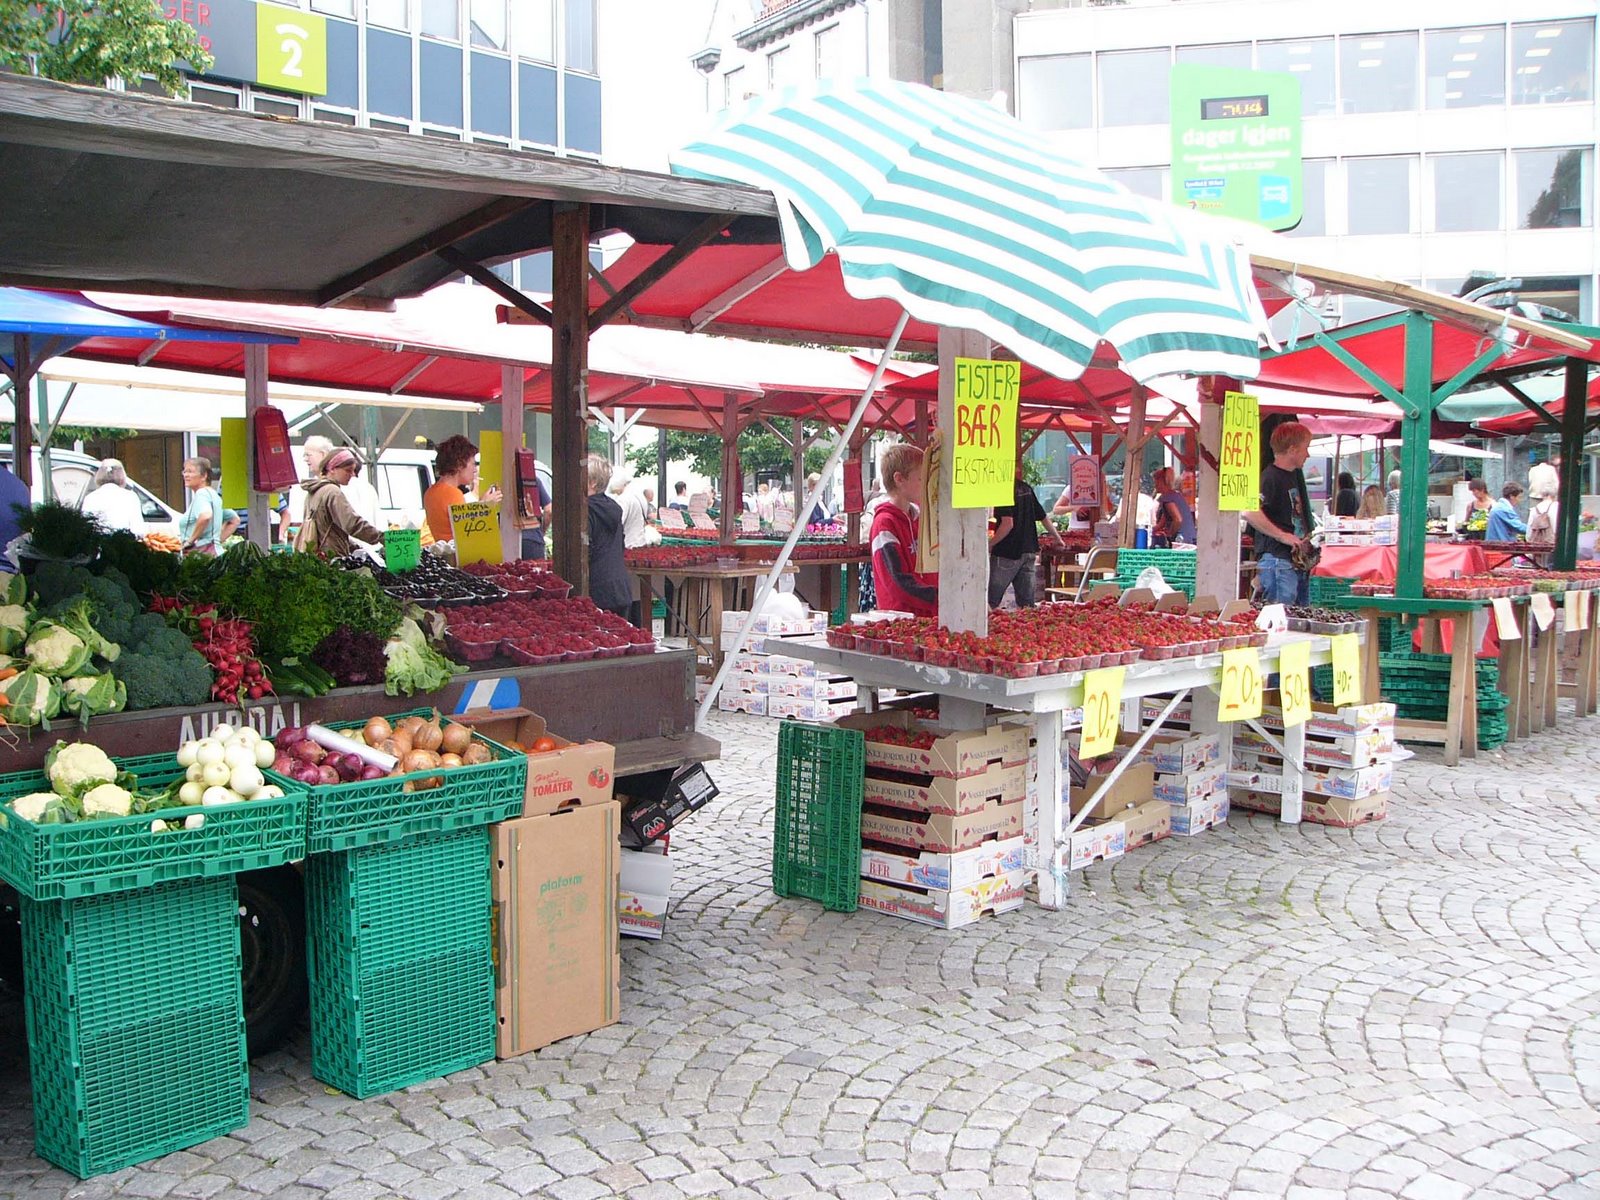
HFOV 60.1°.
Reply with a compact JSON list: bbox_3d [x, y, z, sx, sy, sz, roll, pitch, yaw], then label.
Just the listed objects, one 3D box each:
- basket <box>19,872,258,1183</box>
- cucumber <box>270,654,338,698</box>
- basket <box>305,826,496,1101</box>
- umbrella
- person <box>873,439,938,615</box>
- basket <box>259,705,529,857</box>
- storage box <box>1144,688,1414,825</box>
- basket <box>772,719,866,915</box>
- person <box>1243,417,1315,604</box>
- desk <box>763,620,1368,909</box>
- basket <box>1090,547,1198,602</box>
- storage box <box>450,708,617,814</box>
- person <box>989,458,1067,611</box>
[{"bbox_3d":[-2.365,1.470,4.933,0.702,0.988,0.311,-5,10,-28],"label":"basket"},{"bbox_3d":[-1.997,0.307,5.551,0.239,0.149,0.130,-3,10,-20],"label":"cucumber"},{"bbox_3d":[-1.525,1.377,5.337,0.700,0.964,0.250,-3,9,-19],"label":"basket"},{"bbox_3d":[0.879,-1.800,6.679,2.759,1.476,1.409,0,9,-5],"label":"umbrella"},{"bbox_3d":[0.602,-0.435,8.296,0.357,1.052,0.304,9,10,41],"label":"person"},{"bbox_3d":[-1.552,0.702,5.374,0.913,0.418,0.423,-6,11,-33],"label":"basket"},{"bbox_3d":[2.935,1.028,8.440,0.866,1.078,0.969,-2,4,-39],"label":"storage box"},{"bbox_3d":[0.107,1.088,7.070,0.587,0.849,0.257,5,5,30],"label":"basket"},{"bbox_3d":[3.557,-0.581,10.205,0.442,1.557,0.528,4,7,10],"label":"person"},{"bbox_3d":[1.810,0.818,8.564,1.798,1.292,4.332,6,6,44],"label":"desk"},{"bbox_3d":[3.494,-0.334,14.045,0.961,0.337,0.784,3,6,28],"label":"basket"},{"bbox_3d":[-1.106,0.635,5.747,0.560,0.416,0.580,13,10,32],"label":"storage box"},{"bbox_3d":[1.823,-0.439,11.214,0.531,1.405,0.510,5,7,21],"label":"person"}]
